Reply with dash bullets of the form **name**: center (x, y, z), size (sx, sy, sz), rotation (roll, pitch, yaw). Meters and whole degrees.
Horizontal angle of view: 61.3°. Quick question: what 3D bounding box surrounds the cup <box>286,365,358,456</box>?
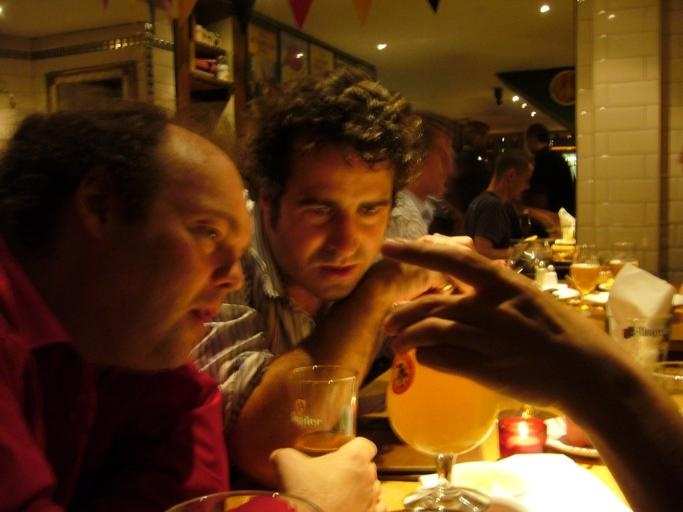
- **cup**: center (-0.027, 0.267, 1.038), size (0.122, 0.153, 0.131), rotation (0, 2, 0)

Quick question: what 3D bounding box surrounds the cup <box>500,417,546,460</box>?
- **cup**: center (0.393, 0.389, 1.251), size (0.073, 0.078, 0.076), rotation (-1, 0, 0)
